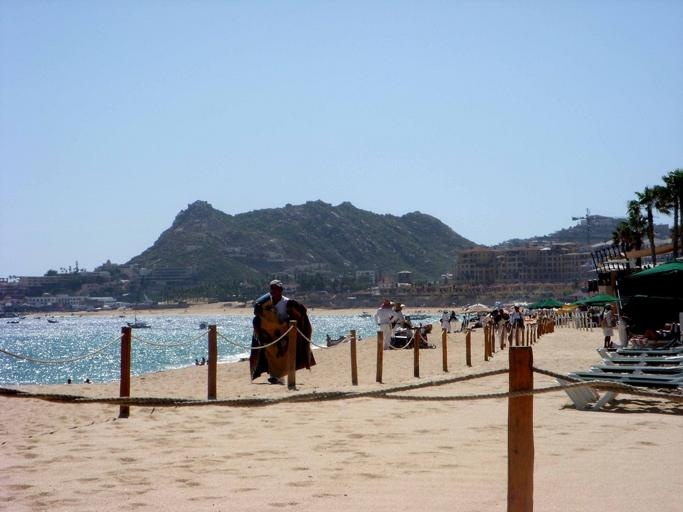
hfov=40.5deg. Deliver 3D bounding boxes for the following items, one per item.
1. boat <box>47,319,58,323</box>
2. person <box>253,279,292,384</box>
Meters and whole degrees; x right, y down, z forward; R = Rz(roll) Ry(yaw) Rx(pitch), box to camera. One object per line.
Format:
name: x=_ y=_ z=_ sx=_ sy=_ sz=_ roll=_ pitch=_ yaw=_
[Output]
boat: x=-59.133 y=13.423 z=189.381 sx=1.719 sy=1.053 sz=2.926 roll=1 pitch=-7 yaw=-21
person: x=-1.269 y=1.496 z=17.705 sx=0.818 sy=2.028 sz=0.608 roll=-1 pitch=8 yaw=-4
